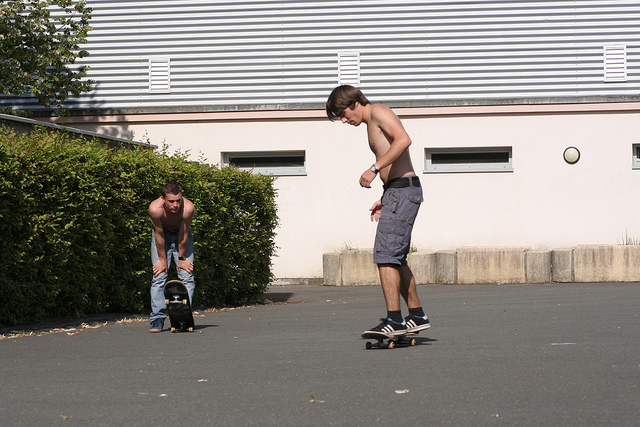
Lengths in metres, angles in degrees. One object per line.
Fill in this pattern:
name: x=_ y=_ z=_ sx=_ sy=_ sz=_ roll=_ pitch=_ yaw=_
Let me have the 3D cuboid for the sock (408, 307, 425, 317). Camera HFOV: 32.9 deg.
sock: x=1.446 y=1.475 z=16.173 sx=0.190 sy=0.190 sz=0.125 roll=0 pitch=1 yaw=-3

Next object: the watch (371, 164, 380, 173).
watch: x=0.807 y=-0.659 z=15.970 sx=0.097 sy=0.095 sz=0.099 roll=-4 pitch=27 yaw=-31

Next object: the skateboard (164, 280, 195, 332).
skateboard: x=-2.291 y=1.443 z=17.443 sx=0.287 sy=1.131 sz=0.155 roll=-4 pitch=37 yaw=5
